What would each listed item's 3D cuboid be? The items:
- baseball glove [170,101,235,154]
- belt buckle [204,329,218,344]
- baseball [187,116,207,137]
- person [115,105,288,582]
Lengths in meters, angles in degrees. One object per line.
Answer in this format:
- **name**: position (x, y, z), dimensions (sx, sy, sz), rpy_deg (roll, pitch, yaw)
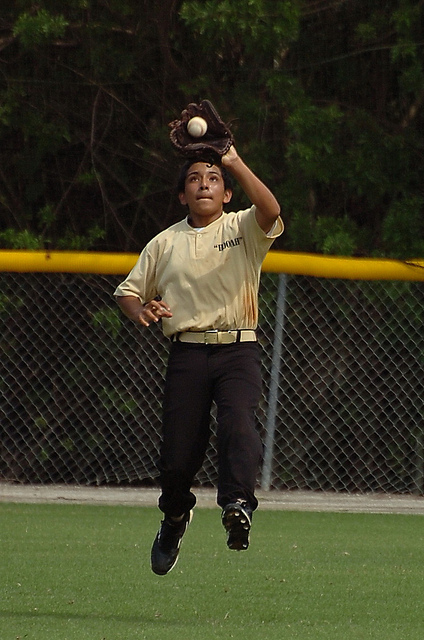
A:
- **baseball glove**: position (-0.115, -0.822, 4.478), dimensions (0.209, 0.086, 0.273), rpy_deg (-16, -14, 14)
- **belt buckle**: position (-0.007, 0.070, 4.386), dimensions (0.017, 0.057, 0.057), rpy_deg (1, -20, -14)
- **baseball**: position (-0.064, -0.808, 4.373), dimensions (0.076, 0.090, 0.076), rpy_deg (2, 0, -36)
- **person**: position (-0.009, 0.157, 4.410), dimensions (0.586, 2.082, 1.017), rpy_deg (0, 10, -22)
